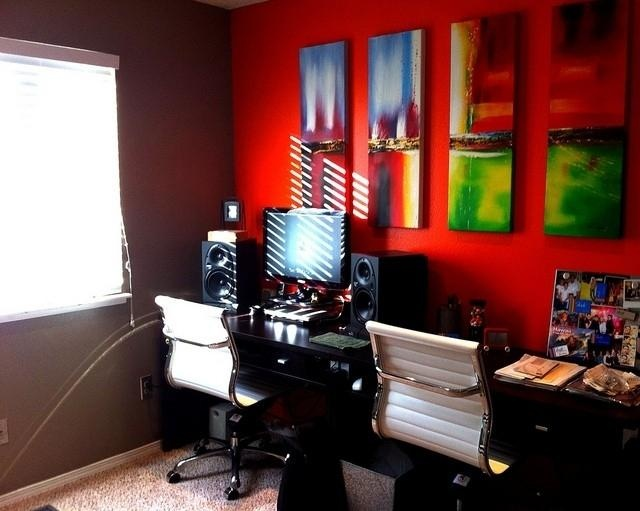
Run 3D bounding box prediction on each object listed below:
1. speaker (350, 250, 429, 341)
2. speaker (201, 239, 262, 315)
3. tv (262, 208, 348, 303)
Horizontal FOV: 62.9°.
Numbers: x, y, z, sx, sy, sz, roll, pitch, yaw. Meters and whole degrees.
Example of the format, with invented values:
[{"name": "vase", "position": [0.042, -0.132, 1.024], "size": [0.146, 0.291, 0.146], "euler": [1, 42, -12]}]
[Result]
[{"name": "speaker", "position": [0.344, 0.223, 2.854], "size": [0.298, 0.485, 0.242], "euler": [-2, 3, -36]}, {"name": "speaker", "position": [-0.605, 0.100, 3.451], "size": [0.271, 0.433, 0.231], "euler": [3, 10, 23]}, {"name": "tv", "position": [-0.096, -0.045, 3.254], "size": [0.623, 0.504, 0.087], "euler": [6, 10, 33]}]
